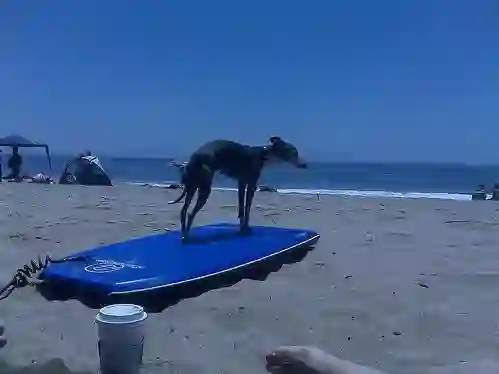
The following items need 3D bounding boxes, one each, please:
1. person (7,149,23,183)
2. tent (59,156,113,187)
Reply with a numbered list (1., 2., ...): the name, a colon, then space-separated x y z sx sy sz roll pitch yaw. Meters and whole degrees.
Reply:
1. person: -9.121 -0.903 15.540 0.423 1.140 2.055 -2 10 -31
2. tent: -6.215 -0.643 15.087 1.863 1.039 1.275 5 9 10
